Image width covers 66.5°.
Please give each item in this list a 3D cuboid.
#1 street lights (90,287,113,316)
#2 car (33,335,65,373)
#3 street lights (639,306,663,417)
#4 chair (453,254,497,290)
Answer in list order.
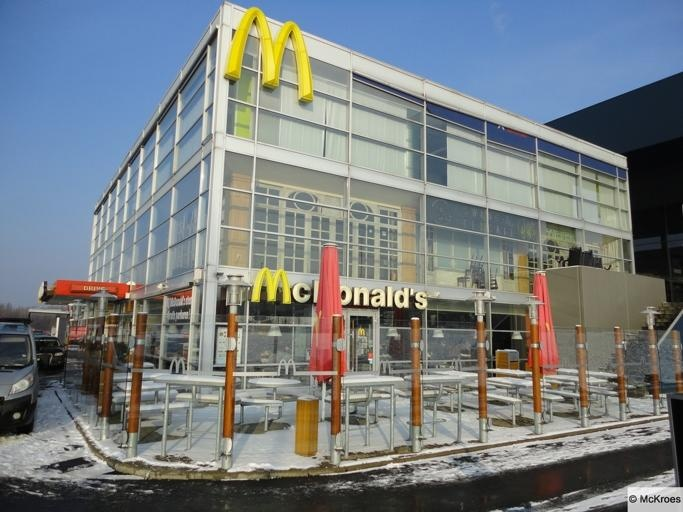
[{"bbox_3d":[-6.557,1.328,14.302,0.484,0.660,1.097,2,-1,-25],"label":"street lights"},{"bbox_3d":[-15.870,4.962,27.989,1.764,1.348,2.899,1,9,-30],"label":"car"},{"bbox_3d":[10.328,3.505,17.250,0.905,3.980,0.884,-6,20,27],"label":"street lights"},{"bbox_3d":[6.728,0.919,26.615,1.805,2.774,1.801,5,-7,-21],"label":"chair"}]
